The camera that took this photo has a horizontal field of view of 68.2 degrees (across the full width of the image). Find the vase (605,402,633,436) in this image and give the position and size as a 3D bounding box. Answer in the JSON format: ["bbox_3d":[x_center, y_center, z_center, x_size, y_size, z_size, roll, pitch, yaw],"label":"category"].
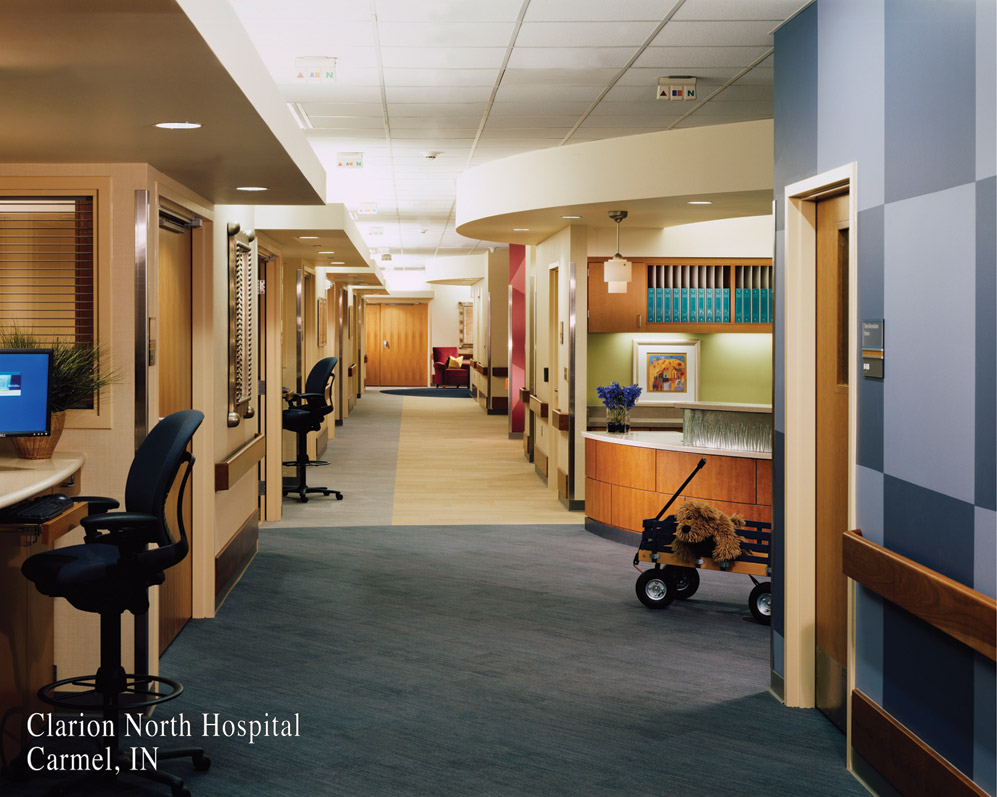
[{"bbox_3d":[1.183,0.208,7.285,0.258,0.344,0.254,1,-1,4],"label":"vase"}]

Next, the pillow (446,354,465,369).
[{"bbox_3d":[-1.477,-1.330,26.044,0.522,0.488,0.503,3,6,21],"label":"pillow"}]

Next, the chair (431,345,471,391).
[{"bbox_3d":[-1.645,-1.106,26.129,1.324,1.631,1.506,0,-1,-7],"label":"chair"}]

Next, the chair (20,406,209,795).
[{"bbox_3d":[-1.689,0.861,3.266,0.753,1.615,1.109,-1,6,-22],"label":"chair"}]

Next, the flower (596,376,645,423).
[{"bbox_3d":[1.196,0.000,7.257,0.434,0.415,0.439,-1,2,-1],"label":"flower"}]

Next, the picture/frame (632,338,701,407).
[{"bbox_3d":[1.956,-0.340,8.755,0.852,0.781,0.064,0,3,-2],"label":"picture/frame"}]

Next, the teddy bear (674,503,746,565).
[{"bbox_3d":[1.391,0.896,4.936,0.301,0.241,0.474,-3,-2,32],"label":"teddy bear"}]
